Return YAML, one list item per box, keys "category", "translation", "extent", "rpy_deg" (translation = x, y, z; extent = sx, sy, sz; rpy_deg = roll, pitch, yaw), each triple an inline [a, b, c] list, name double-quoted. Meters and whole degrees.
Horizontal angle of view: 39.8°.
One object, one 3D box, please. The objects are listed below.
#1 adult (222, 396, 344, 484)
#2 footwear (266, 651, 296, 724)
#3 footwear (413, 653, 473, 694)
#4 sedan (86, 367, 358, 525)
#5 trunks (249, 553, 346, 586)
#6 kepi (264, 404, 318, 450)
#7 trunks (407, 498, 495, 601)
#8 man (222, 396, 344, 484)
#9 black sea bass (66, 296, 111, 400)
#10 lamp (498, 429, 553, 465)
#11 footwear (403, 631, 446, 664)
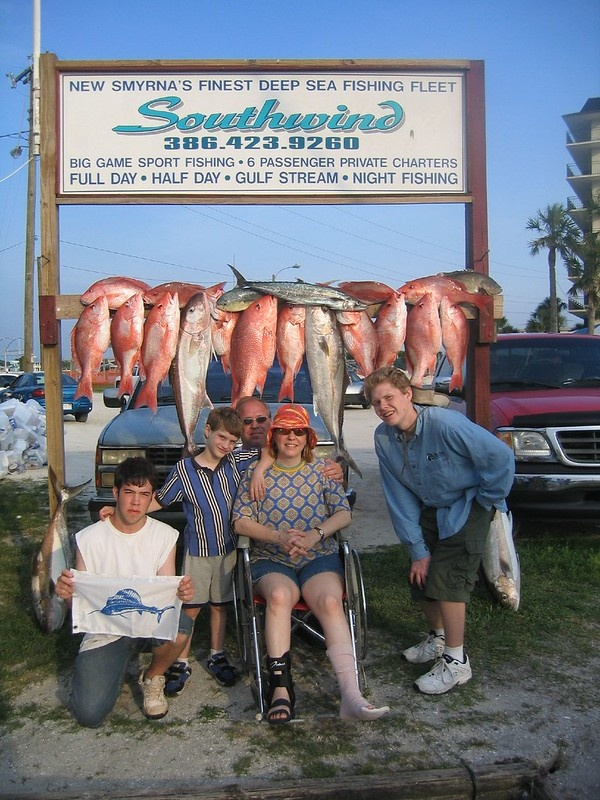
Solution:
- category: "adult"
  translation: [-0.176, 0.170, 4.818]
  extent: [0.404, 0.592, 0.324]
  rpy_deg: [1, 9, 1]
- category: "footwear"
  translation: [-0.088, 1.251, 3.602]
  extent: [0.115, 0.297, 0.288]
  rpy_deg: [-2, 4, -3]
- category: "footwear"
  translation: [0.703, 1.341, 4.072]
  extent: [0.329, 0.137, 0.133]
  rpy_deg: [-2, -4, -33]
- category: "sedan"
  translation: [-0.835, 0.275, 6.425]
  extent: [1.248, 0.830, 1.873]
  rpy_deg: [-1, -3, 2]
- category: "trunks"
  translation: [-0.008, 0.847, 4.085]
  extent: [0.457, 0.119, 0.269]
  rpy_deg: [-2, 4, -3]
- category: "kepi"
  translation: [-0.030, 0.137, 4.207]
  extent: [0.193, 0.136, 0.245]
  rpy_deg: [3, -27, -1]
- category: "trunks"
  translation: [0.747, 0.699, 4.301]
  extent: [0.518, 0.246, 0.808]
  rpy_deg: [1, 40, 11]
- category: "man"
  translation: [-0.178, 0.171, 4.800]
  extent: [0.404, 0.592, 0.324]
  rpy_deg: [1, 9, 1]
- category: "black sea bass"
  translation: [-1.162, -0.287, 4.635]
  extent: [0.220, 0.566, 0.460]
  rpy_deg: [-3, 5, -15]
- category: "lamp"
  translation: [1.690, 0.334, 6.099]
  extent: [0.268, 0.306, 0.114]
  rpy_deg: [-3, -37, 10]
- category: "footwear"
  translation: [0.618, 1.321, 4.367]
  extent: [0.292, 0.123, 0.101]
  rpy_deg: [-1, -3, -4]
